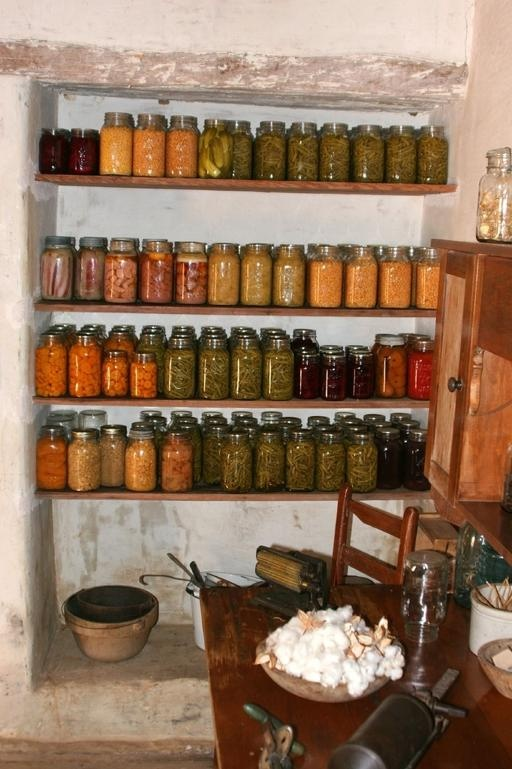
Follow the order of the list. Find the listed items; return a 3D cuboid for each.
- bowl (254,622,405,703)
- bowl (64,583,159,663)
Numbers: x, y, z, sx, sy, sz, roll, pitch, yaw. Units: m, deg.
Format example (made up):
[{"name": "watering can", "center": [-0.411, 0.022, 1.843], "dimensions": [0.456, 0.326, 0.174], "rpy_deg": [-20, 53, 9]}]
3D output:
[{"name": "bowl", "center": [0.109, 0.498, 1.193], "dimensions": [0.154, 0.039, 0.144], "rpy_deg": [0, 5, 0]}, {"name": "bowl", "center": [-0.550, 0.883, 2.580], "dimensions": [0.299, 0.149, 0.267], "rpy_deg": [3, 5, 36]}]
